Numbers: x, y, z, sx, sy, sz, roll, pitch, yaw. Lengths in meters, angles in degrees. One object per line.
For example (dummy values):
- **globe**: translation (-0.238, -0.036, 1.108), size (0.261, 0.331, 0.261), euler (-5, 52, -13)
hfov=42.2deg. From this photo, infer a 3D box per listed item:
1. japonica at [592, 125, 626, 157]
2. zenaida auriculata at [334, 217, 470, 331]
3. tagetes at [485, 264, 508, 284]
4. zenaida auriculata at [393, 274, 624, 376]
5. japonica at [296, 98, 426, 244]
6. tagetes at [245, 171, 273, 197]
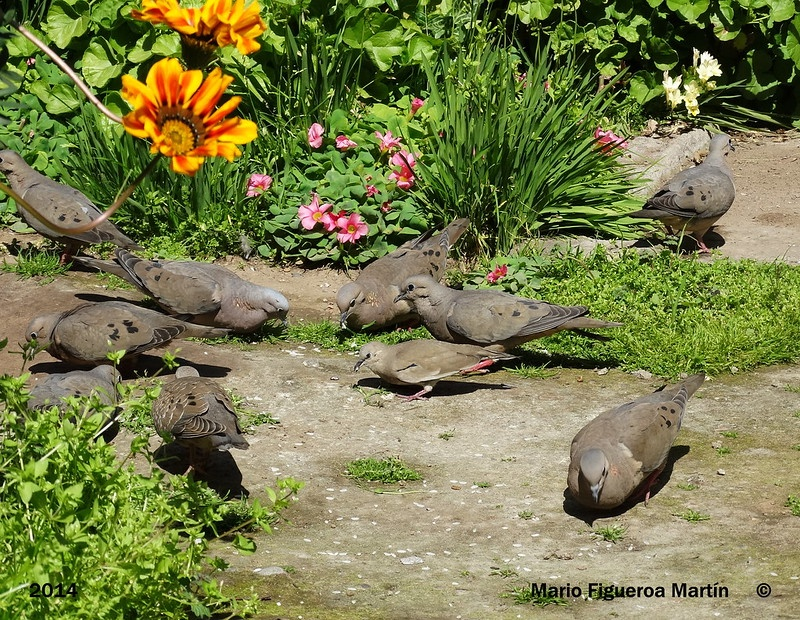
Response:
- **japonica**: translation (2.054, -1.592, 10.102), size (0.374, 0.134, 0.339), euler (17, 16, -5)
- **zenaida auriculata**: translation (-0.034, -0.253, 8.681), size (0.913, 0.930, 1.329), euler (16, 23, 35)
- **tagetes**: translation (0.839, -0.317, 8.937), size (0.097, 0.174, 0.150), euler (36, 27, -12)
- **zenaida auriculata**: translation (0.886, 0.088, 8.371), size (1.855, 0.793, 0.929), euler (10, 17, 27)
- **japonica**: translation (-0.375, -1.347, 9.876), size (1.314, 1.247, 1.056), euler (15, 26, 36)
- **tagetes**: translation (-1.347, -1.179, 9.892), size (0.212, 0.191, 0.342), euler (6, 37, 12)
